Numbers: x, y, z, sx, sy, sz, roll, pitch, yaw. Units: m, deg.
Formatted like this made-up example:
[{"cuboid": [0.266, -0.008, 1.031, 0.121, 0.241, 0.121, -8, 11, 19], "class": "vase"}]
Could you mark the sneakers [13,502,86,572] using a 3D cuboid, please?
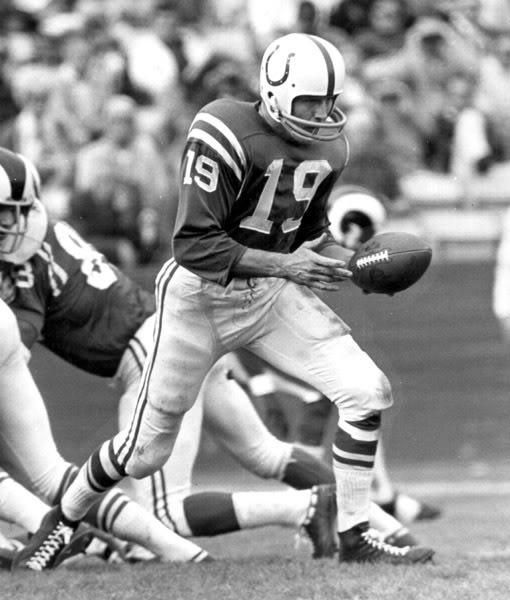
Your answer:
[{"cuboid": [-0.624, 0.733, 3.091, 0.283, 0.096, 0.110, -42, 9, 1], "class": "sneakers"}]

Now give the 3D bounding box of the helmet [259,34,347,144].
[{"cuboid": [0.133, -0.601, 2.896, 0.242, 0.280, 0.271, 0, 23, 1], "class": "helmet"}]

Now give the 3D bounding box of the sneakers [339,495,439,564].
[{"cuboid": [0.427, 0.707, 3.096, 0.363, 0.158, 0.114, -4, 6, -4], "class": "sneakers"}]

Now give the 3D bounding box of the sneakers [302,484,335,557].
[{"cuboid": [0.206, 0.693, 3.186, 0.085, 0.189, 0.135, -1, 42, 0], "class": "sneakers"}]
